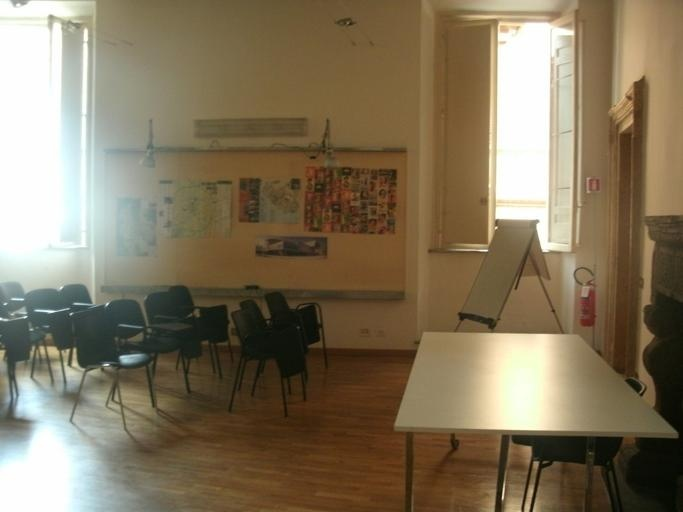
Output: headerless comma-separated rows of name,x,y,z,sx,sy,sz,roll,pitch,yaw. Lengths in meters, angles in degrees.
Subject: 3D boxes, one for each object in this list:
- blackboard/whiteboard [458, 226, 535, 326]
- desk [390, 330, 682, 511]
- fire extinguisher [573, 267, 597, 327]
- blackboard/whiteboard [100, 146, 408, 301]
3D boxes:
blackboard/whiteboard,1.840,0.165,7.062,0.573,1.119,0.998,10,16,40
desk,1.509,1.330,5.169,1.928,0.814,2.296,2,12,9
fire extinguisher,3.229,0.552,7.840,0.311,0.754,0.257,-5,14,4
blackboard/whiteboard,-1.218,-0.485,8.491,4.257,2.279,0.149,0,-4,3
